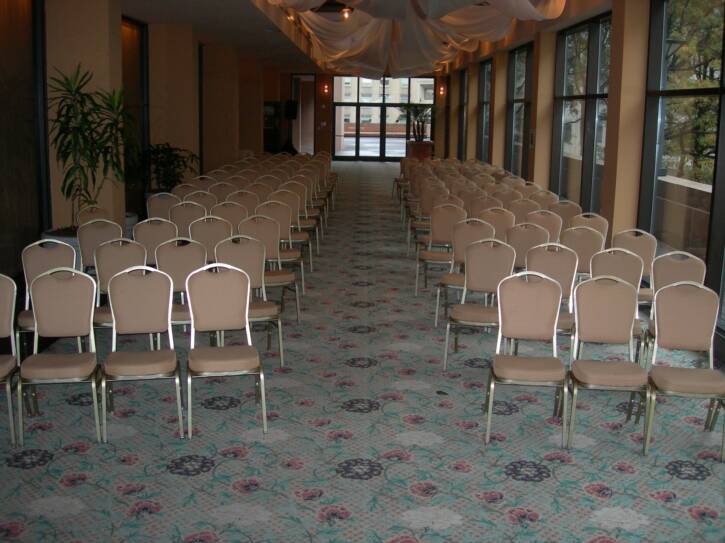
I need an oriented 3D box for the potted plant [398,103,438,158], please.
[{"bbox_3d":[2.818,-7.210,27.407,1.662,3.173,2.629,-1,3,1],"label":"potted plant"}]
